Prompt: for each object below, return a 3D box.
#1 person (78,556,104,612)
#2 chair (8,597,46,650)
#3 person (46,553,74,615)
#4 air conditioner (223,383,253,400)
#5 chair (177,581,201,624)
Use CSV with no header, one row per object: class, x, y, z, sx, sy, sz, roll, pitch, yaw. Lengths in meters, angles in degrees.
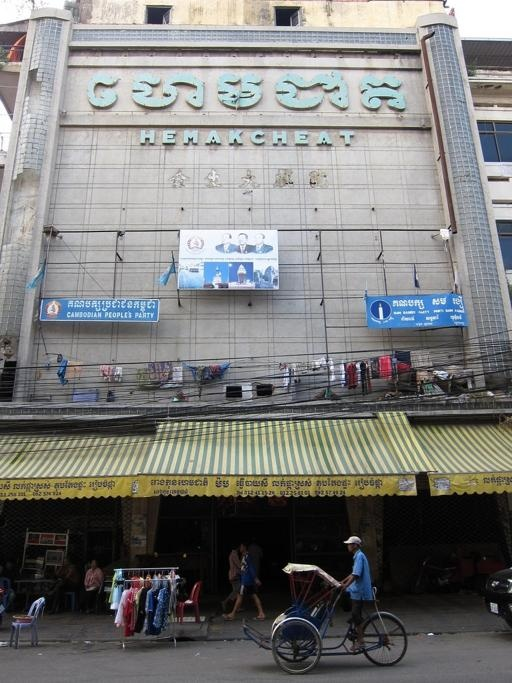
person,-3.846,5.704,12.263,0.488,1.197,1.382,0,-13,-18
chair,-3.711,4.564,8.496,0.457,0.642,0.407,12,-29,-36
person,-4.630,5.835,12.725,0.662,1.061,0.399,-7,12,-15
air conditioner,-0.494,1.466,15.162,0.826,0.403,0.479,-2,-12,5
chair,-1.391,5.334,10.710,0.611,0.704,0.591,7,-18,-21
